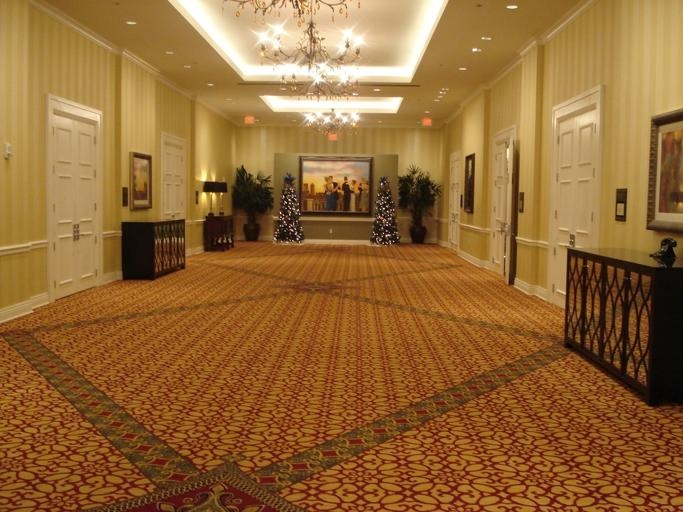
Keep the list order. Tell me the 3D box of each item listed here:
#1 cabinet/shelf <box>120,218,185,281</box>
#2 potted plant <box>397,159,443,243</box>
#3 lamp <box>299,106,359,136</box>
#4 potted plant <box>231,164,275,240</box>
[{"bbox_3d":[-4.698,-0.220,10.157,0.707,1.358,2.189,0,5,-5],"label":"cabinet/shelf"},{"bbox_3d":[3.496,-2.356,18.157,1.802,3.620,1.003,1,3,10],"label":"potted plant"},{"bbox_3d":[-0.369,-4.936,14.503,1.790,0.890,1.892,1,9,6],"label":"lamp"},{"bbox_3d":[-4.043,-2.344,18.118,1.853,3.381,0.966,0,3,-8],"label":"potted plant"}]
